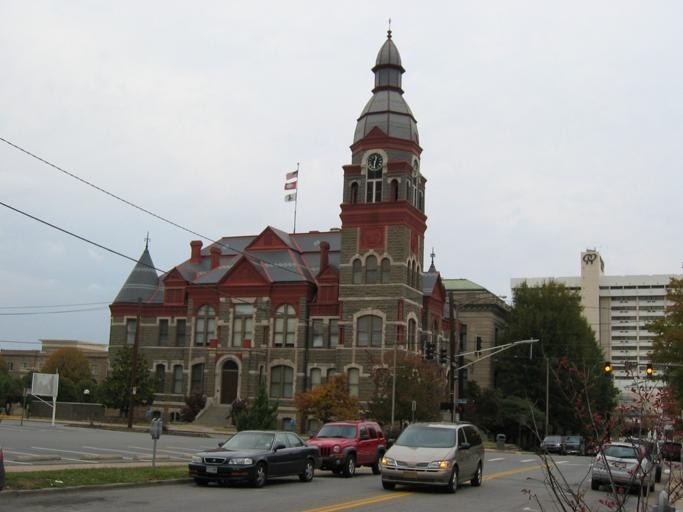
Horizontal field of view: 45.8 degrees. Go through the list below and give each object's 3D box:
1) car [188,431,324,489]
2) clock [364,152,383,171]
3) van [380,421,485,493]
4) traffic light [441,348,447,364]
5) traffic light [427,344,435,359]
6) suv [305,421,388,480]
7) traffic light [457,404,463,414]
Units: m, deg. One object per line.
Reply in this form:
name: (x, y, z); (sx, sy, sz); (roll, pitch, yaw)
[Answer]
car: (-2.628, 6.895, 27.424); (1.796, 1.331, 4.093); (-8, -18, 24)
clock: (2.624, -7.559, 65.319); (1.285, 1.359, 0.116); (-9, -8, 18)
van: (3.290, 6.764, 27.390); (1.852, 1.467, 3.453); (-7, -17, 23)
traffic light: (6.220, 6.039, 49.153); (0.262, 0.832, 1.054); (-2, -15, 15)
traffic light: (5.199, 5.573, 47.664); (0.412, 1.040, 1.181); (1, -14, 4)
suv: (0.167, 7.448, 31.379); (1.755, 1.375, 2.927); (-9, -19, 26)
traffic light: (7.325, 9.409, 49.852); (0.370, 0.562, 0.850); (-4, -16, 23)
